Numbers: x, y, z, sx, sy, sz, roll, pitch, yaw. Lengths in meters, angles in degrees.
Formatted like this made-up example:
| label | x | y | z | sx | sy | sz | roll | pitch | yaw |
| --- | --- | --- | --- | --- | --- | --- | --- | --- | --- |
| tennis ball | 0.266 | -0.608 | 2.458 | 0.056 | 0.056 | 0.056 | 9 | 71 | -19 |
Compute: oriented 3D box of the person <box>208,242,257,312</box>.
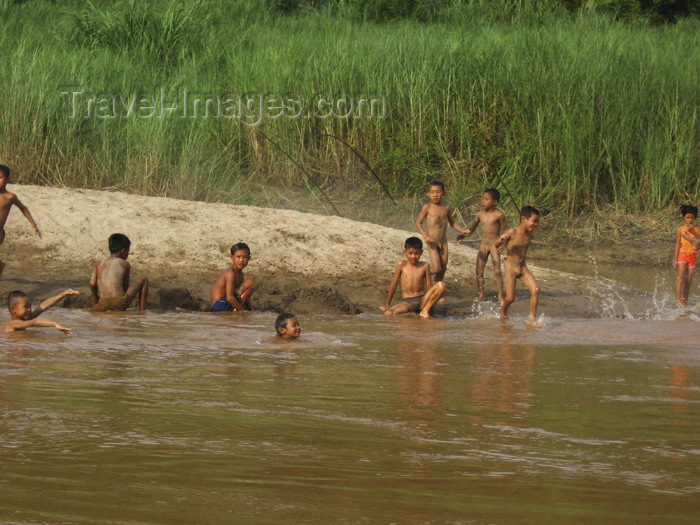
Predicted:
| label | x | y | z | sx | sy | sz | roll | pitch | yaw |
| --- | --- | --- | --- | --- | --- | --- | --- | --- | --- |
| person | -1.395 | 0.160 | 14.361 | 0.518 | 0.830 | 0.472 | 1 | 13 | -6 |

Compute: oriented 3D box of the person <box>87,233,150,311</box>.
| label | x | y | z | sx | sy | sz | roll | pitch | yaw |
| --- | --- | --- | --- | --- | --- | --- | --- | --- | --- |
| person | -2.804 | 0.143 | 14.656 | 0.855 | 1.099 | 0.673 | 4 | 11 | 17 |

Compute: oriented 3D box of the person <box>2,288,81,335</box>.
| label | x | y | z | sx | sy | sz | roll | pitch | yaw |
| --- | --- | --- | --- | --- | --- | --- | --- | --- | --- |
| person | -3.245 | 0.482 | 12.978 | 0.789 | 0.489 | 0.862 | 4 | 13 | 9 |

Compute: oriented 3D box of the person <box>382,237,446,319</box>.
| label | x | y | z | sx | sy | sz | roll | pitch | yaw |
| --- | --- | --- | --- | --- | --- | --- | --- | --- | --- |
| person | 0.754 | 0.175 | 14.675 | 0.860 | 0.925 | 0.633 | 0 | 13 | 7 |
